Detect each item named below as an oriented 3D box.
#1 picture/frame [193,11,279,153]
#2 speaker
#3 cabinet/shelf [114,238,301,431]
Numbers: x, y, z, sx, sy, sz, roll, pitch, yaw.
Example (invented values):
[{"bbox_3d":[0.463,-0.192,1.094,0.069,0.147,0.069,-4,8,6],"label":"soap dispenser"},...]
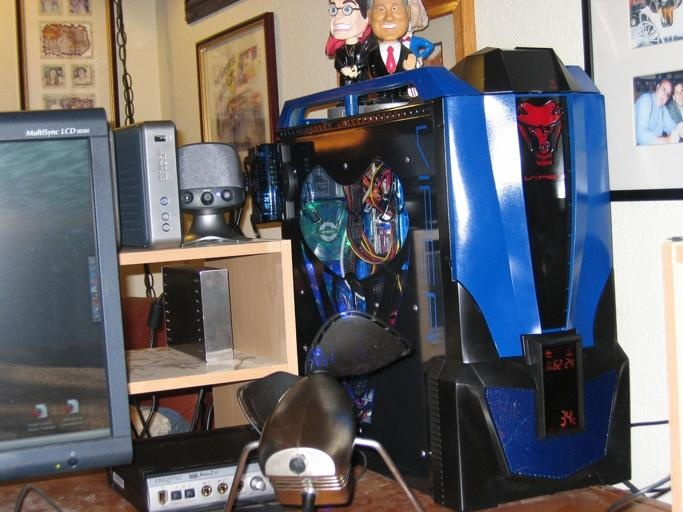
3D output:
[{"bbox_3d":[-0.370,-0.644,2.298,0.035,0.603,0.753,-3,5,-26],"label":"picture/frame"},{"bbox_3d":[-0.261,-0.123,1.250,0.126,0.191,0.125,-3,6,-13],"label":"speaker"},{"bbox_3d":[-0.306,0.121,1.344,0.321,0.445,0.379,-2,0,-22],"label":"cabinet/shelf"}]
